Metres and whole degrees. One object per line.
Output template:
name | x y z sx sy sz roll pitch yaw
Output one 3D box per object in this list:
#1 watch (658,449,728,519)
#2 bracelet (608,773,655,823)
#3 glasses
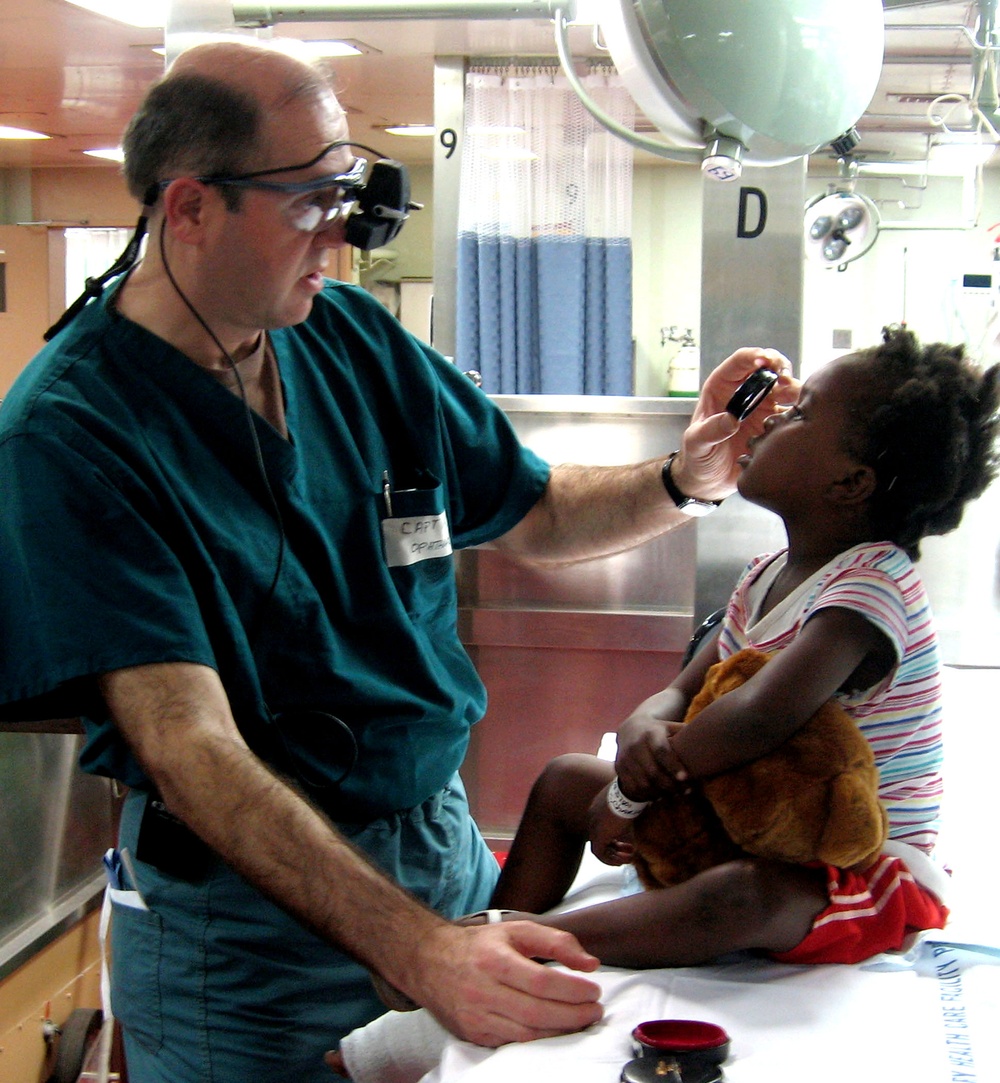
watch | 0.259 -0.079 1.567 0.107 0.075 0.034 -7 -11 -23
bracelet | 0.146 0.278 1.245 0.036 0.041 0.040 -17 51 -4
glasses | -0.211 -0.354 1.186 0.122 0.032 0.100 -1 16 15
